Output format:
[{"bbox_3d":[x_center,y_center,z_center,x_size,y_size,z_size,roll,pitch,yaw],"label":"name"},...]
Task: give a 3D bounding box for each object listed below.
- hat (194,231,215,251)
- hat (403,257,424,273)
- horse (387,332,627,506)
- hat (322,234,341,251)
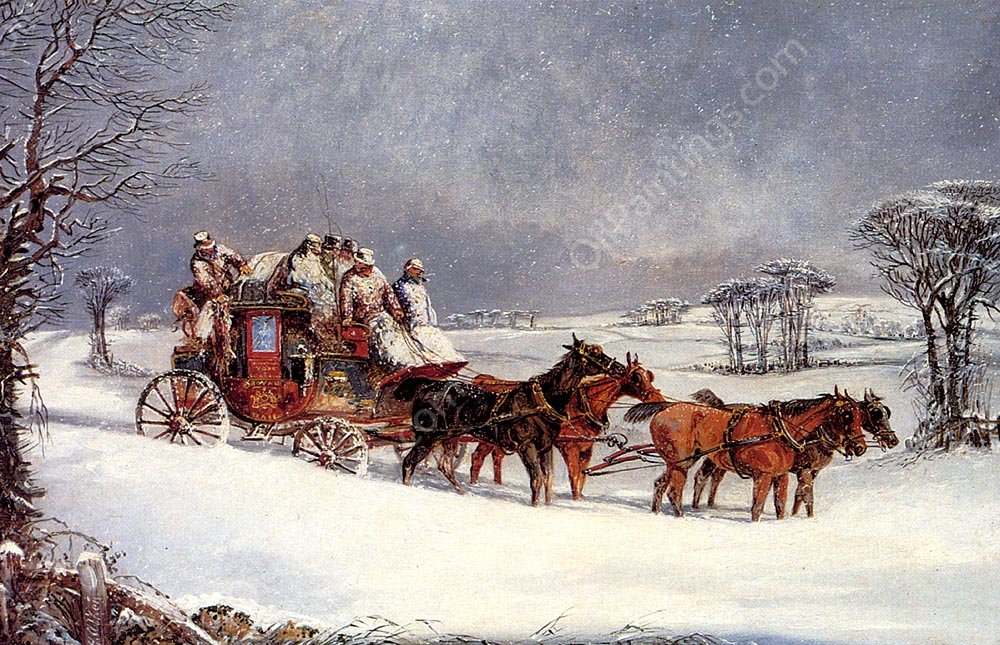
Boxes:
[{"bbox_3d":[-4.647,-1.273,17.474,0.303,0.287,0.117,1,-7,-19],"label":"hat"},{"bbox_3d":[-1.454,-0.955,18.482,0.264,0.101,0.283,14,-42,-21],"label":"hat"},{"bbox_3d":[0.041,1.634,17.388,3.881,2.376,1.079,-1,-4,27],"label":"horse"},{"bbox_3d":[-2.676,-1.278,17.710,0.273,0.197,0.279,8,9,44],"label":"hat"}]
